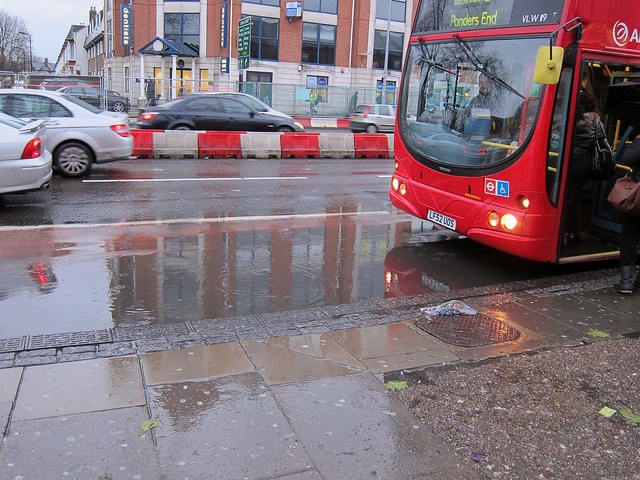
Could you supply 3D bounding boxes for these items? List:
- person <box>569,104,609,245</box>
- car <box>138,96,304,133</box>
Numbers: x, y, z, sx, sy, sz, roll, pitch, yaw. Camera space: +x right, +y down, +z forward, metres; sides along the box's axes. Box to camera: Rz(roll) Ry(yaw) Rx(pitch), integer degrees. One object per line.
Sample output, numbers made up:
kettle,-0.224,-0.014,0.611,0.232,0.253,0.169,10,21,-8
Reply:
person,3.574,-0.814,6.131,0.445,1.928,0.837,12,20,29
car,-4.080,-4.924,18.392,4.956,1.505,2.047,-4,13,-17
